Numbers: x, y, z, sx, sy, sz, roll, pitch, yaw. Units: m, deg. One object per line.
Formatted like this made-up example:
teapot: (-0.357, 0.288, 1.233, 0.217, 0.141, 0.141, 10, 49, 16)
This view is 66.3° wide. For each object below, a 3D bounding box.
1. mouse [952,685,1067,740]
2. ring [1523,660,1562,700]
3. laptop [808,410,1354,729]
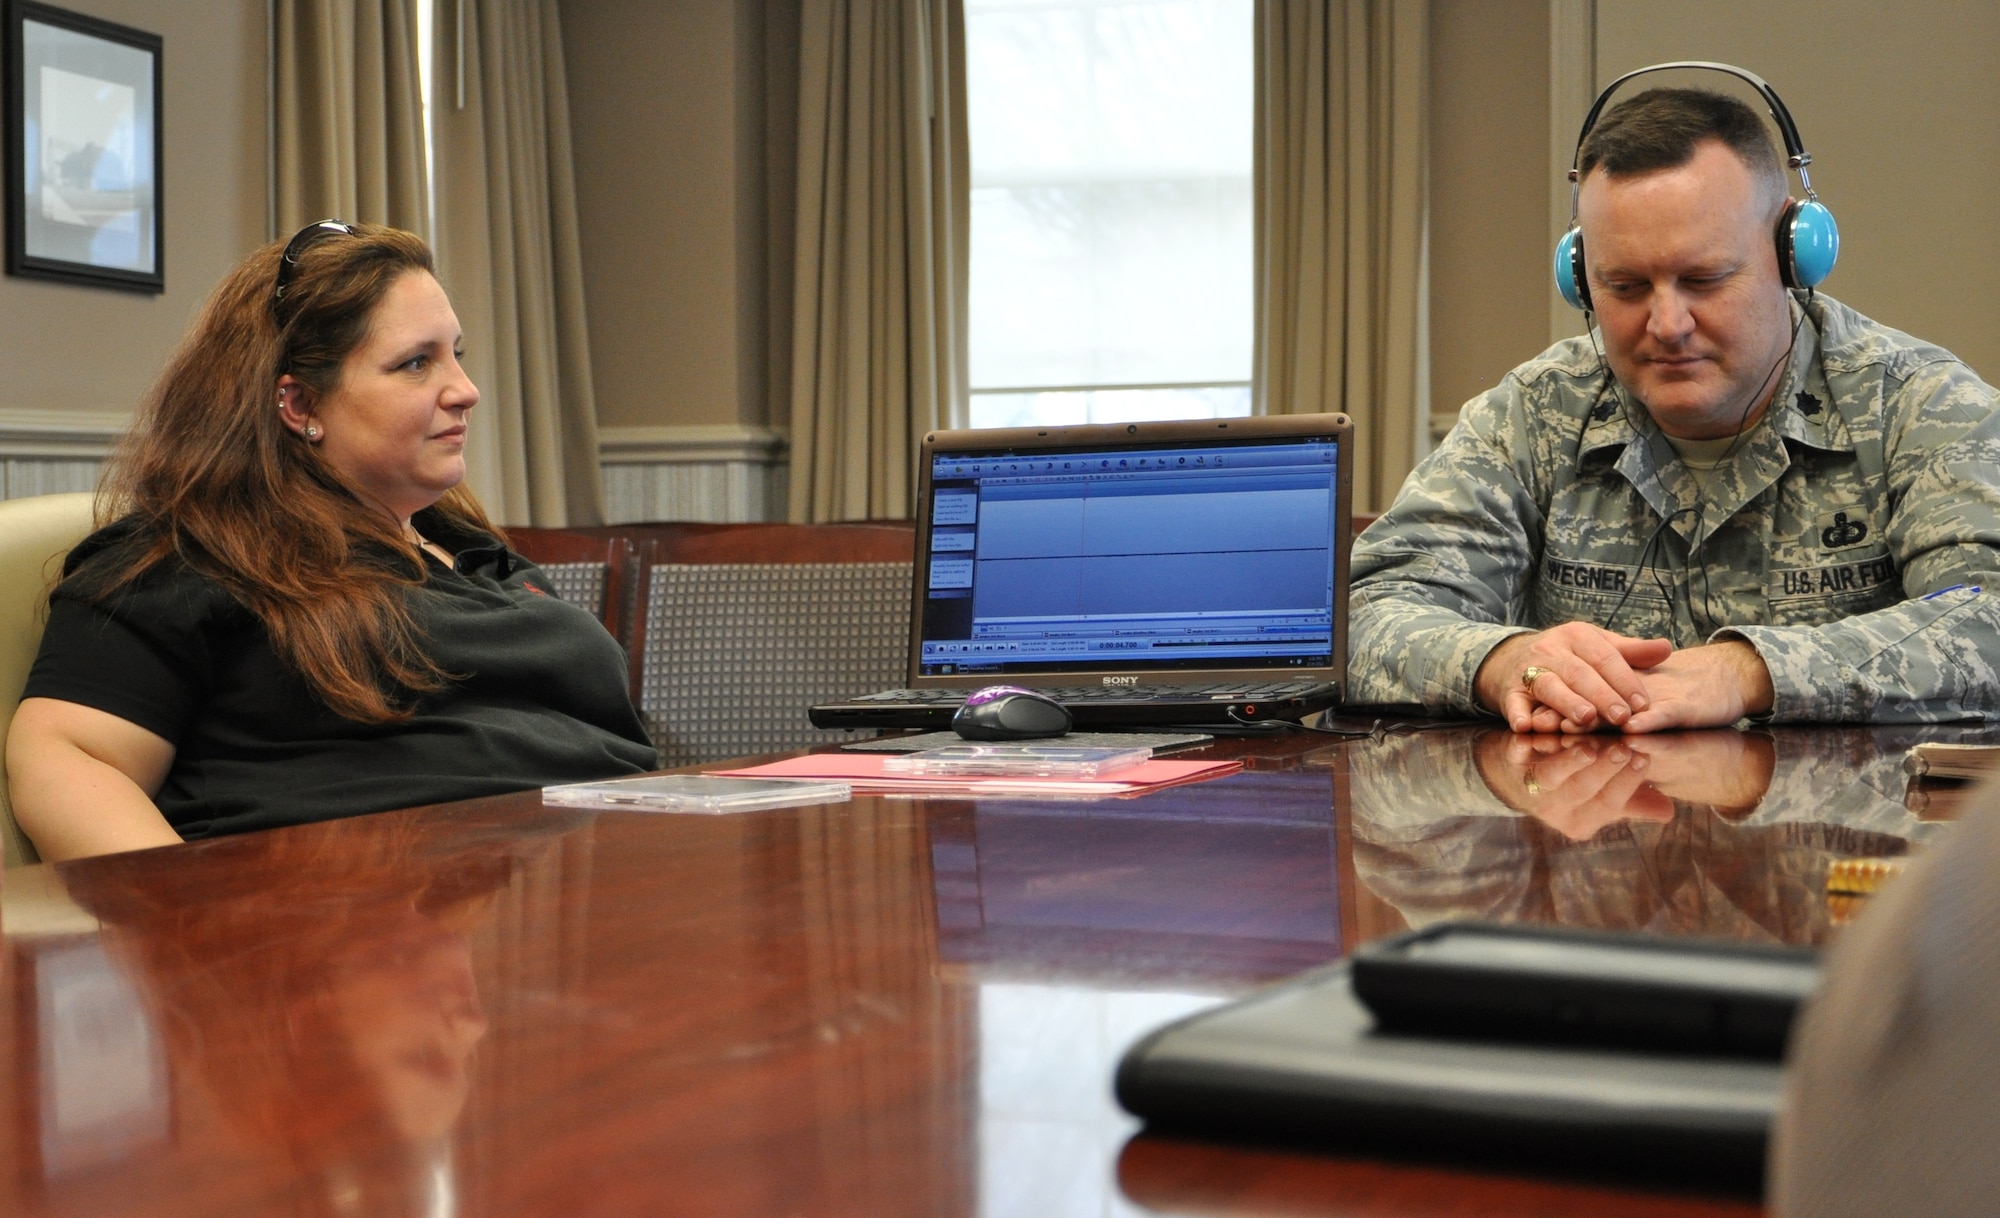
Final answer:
mouse: (0.008, 0.093, 1.394, 0.084, 0.029, 0.048, -1, 5, -25)
ring: (0.508, 0.069, 1.442, 0.018, 0.029, 0.046, -5, 9, -24)
laptop: (0.097, -0.035, 1.647, 0.541, 0.289, 0.287, 0, 9, 23)
